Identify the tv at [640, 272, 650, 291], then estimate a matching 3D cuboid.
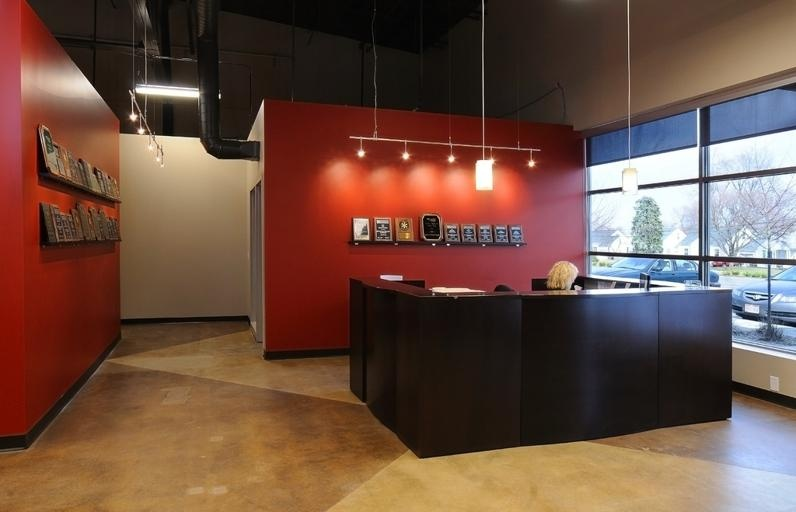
[{"bbox_3d":[2.964,0.318,6.499,0.167,0.224,0.147,2,-2,7],"label":"tv"}]
